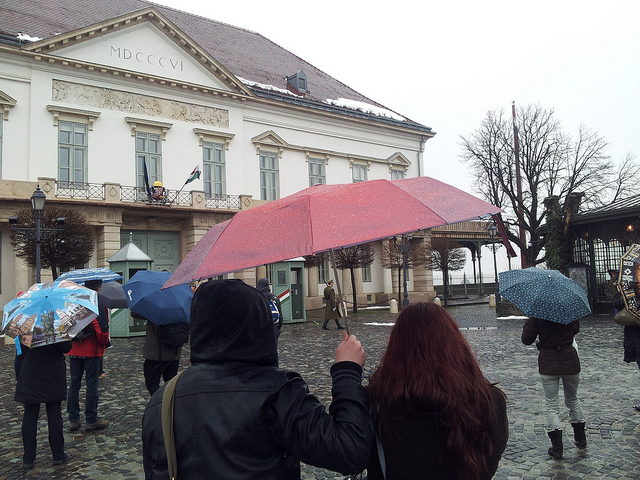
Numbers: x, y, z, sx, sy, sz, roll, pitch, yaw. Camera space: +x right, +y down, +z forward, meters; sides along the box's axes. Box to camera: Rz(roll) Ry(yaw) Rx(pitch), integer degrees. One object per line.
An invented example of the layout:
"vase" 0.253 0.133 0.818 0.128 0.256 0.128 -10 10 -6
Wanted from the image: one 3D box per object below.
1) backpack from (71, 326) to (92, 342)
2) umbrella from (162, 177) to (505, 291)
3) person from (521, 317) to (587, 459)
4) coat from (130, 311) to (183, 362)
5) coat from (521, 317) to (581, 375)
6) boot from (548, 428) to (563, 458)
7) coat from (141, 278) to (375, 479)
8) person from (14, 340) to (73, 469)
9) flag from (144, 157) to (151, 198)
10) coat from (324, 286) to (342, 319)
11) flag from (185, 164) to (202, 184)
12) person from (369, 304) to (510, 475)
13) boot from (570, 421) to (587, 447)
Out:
"backpack" -3.523 1.421 9.178 0.290 0.131 0.222 -27 4 16
"umbrella" 0.131 -0.127 5.338 2.554 0.853 0.914 -2 -3 -6
"person" 3.152 1.922 8.249 0.759 1.769 0.584 1 -4 -32
"coat" -2.425 1.432 9.221 0.543 0.835 0.870 3 3 -12
"coat" 3.158 1.215 8.314 0.716 1.067 0.600 -9 20 7
"boot" 3.013 2.602 7.855 0.173 0.361 0.109 -3 -4 20
"coat" -0.405 1.105 4.847 1.445 1.611 0.425 -3 -4 14
"person" -3.627 2.156 8.066 0.670 1.614 0.344 0 -4 -22
"flag" -7.206 -2.597 25.597 0.227 1.516 0.659 -1 -4 -6
"coat" 0.439 2.266 22.303 0.651 1.174 0.603 -2 0 -18
"flag" -5.455 -2.907 26.510 0.557 0.779 0.944 -1 -4 -19
"person" 0.967 1.241 5.091 1.137 1.410 0.297 -2 -4 -3
"boot" 3.461 2.578 8.162 0.165 0.309 0.204 -4 -4 26
